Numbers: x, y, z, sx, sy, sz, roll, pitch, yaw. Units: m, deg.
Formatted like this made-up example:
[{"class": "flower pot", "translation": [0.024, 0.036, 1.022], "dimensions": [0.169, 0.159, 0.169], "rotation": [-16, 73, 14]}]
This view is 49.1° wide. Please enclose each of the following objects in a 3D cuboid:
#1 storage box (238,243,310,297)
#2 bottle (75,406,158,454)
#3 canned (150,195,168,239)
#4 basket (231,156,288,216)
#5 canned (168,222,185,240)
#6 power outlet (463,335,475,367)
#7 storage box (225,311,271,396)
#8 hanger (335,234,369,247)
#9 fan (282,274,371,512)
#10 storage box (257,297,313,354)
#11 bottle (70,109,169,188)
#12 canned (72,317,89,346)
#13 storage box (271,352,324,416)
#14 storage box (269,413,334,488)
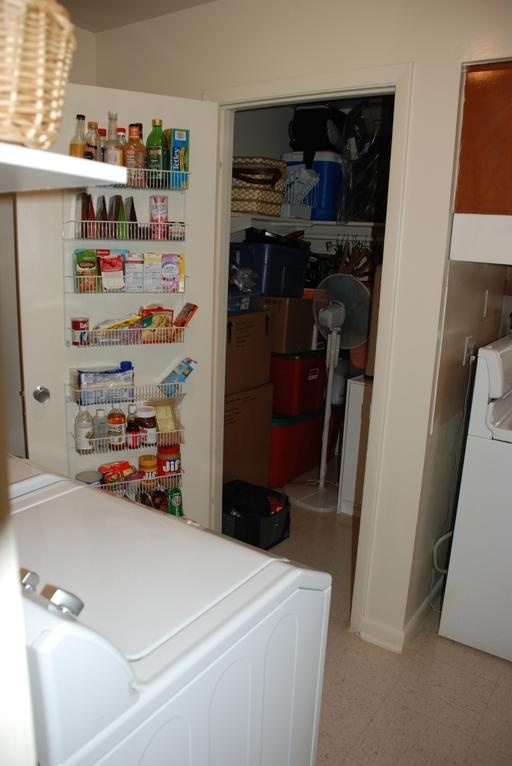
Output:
[{"class": "storage box", "translation": [0.107, -0.803, 4.009], "dimensions": [0.329, 0.257, 0.470], "rotation": [15, 15, 38]}, {"class": "bottle", "translation": [-0.596, 0.200, 2.432], "dimensions": [0.350, 0.221, 0.169], "rotation": [-2, -8, -27]}, {"class": "canned", "translation": [-0.394, -0.684, 2.336], "dimensions": [0.064, 0.172, 0.122], "rotation": [8, 13, 29]}, {"class": "basket", "translation": [0.026, -1.322, 3.756], "dimensions": [0.400, 0.301, 0.320], "rotation": [5, 18, 10]}, {"class": "canned", "translation": [-0.325, -0.630, 2.350], "dimensions": [0.070, 0.072, 0.073], "rotation": [8, 29, 7]}, {"class": "power outlet", "translation": [0.939, -0.137, 2.482], "dimensions": [0.016, 0.153, 0.111], "rotation": [14, 22, 38]}, {"class": "storage box", "translation": [-0.152, -0.225, 3.709], "dimensions": [0.267, 0.500, 0.513], "rotation": [11, 17, 36]}, {"class": "hanger", "translation": [0.745, -1.126, 4.410], "dimensions": [0.291, 0.122, 0.090], "rotation": [8, 42, 18]}, {"class": "fan", "translation": [0.487, 0.028, 3.848], "dimensions": [0.465, 1.529, 0.745], "rotation": [3, 12, 7]}, {"class": "storage box", "translation": [0.228, -0.419, 4.055], "dimensions": [0.216, 0.380, 0.403], "rotation": [8, 10, 32]}, {"class": "bottle", "translation": [-0.549, -0.917, 2.220], "dimensions": [0.401, 0.267, 0.193], "rotation": [-7, 15, -37]}, {"class": "canned", "translation": [-0.706, -0.200, 2.238], "dimensions": [0.071, 0.111, 0.052], "rotation": [0, 12, -9]}, {"class": "storage box", "translation": [0.308, 0.004, 4.242], "dimensions": [0.301, 0.394, 0.536], "rotation": [5, 9, 29]}, {"class": "storage box", "translation": [0.310, 0.484, 4.112], "dimensions": [0.473, 0.340, 0.490], "rotation": [-1, 6, -1]}]
